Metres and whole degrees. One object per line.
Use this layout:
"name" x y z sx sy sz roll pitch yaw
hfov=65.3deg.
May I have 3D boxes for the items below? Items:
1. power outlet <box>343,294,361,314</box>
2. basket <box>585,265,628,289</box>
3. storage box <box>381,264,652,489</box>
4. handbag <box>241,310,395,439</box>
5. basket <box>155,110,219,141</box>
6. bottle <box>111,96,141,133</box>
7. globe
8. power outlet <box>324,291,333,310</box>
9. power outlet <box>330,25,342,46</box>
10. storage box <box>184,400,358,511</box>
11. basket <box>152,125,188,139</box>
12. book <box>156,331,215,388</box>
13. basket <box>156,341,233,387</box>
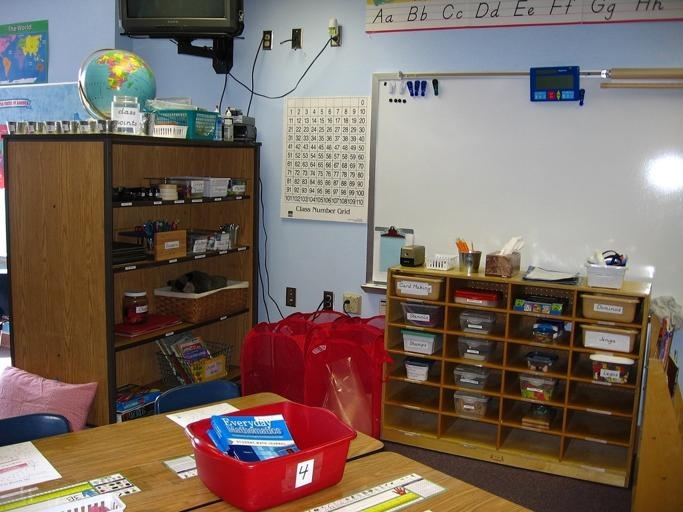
"power outlet" 0.084 0.369 4.128 0.147 0.144 0.084 3 4 33
"basket" 1.558 0.120 3.158 0.199 0.138 0.057 5 10 24
"storage box" 1.138 0.730 3.315 1.283 0.931 0.408 4 6 20
"handbag" -0.135 0.678 3.711 1.114 0.968 0.749 5 11 35
"basket" -1.131 -0.902 3.757 0.339 0.148 0.219 5 8 29
"bottle" -1.318 -0.872 3.274 0.178 0.248 0.274 -2 10 -22
"globe" -1.468 -1.119 3.544 0.436 0.468 0.487 29 31 35
"power outlet" -0.106 0.347 4.221 0.083 0.147 0.032 4 9 14
"power outlet" -0.045 -1.640 3.955 0.082 0.154 0.067 2 9 2
"storage box" -0.204 0.697 1.815 0.423 0.149 0.331 -5 13 -34
"basket" -1.139 -0.805 3.512 0.158 0.056 0.110 7 10 29
"book" -1.103 0.757 3.984 0.474 0.228 0.313 -5 6 -38
"basket" -1.085 0.762 4.037 0.374 0.249 0.555 3 7 31
